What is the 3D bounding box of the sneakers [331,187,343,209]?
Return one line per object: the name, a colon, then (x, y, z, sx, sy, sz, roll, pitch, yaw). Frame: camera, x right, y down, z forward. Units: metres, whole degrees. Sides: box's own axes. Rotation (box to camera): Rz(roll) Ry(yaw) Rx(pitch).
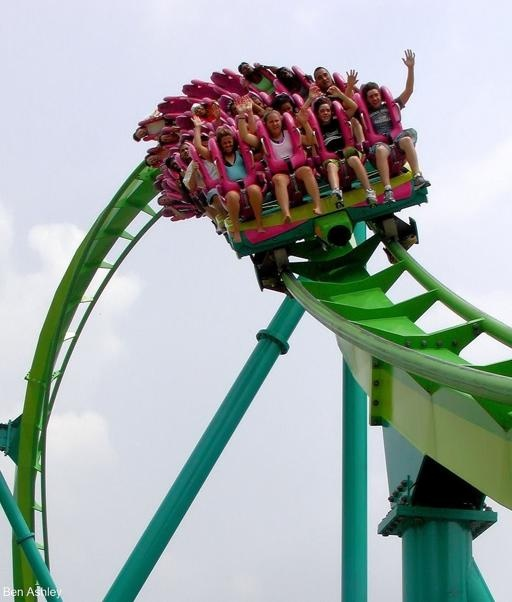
sneakers: (0.557, -0.692, 6.820, 0.049, 0.155, 0.062, -8, 6, -1)
